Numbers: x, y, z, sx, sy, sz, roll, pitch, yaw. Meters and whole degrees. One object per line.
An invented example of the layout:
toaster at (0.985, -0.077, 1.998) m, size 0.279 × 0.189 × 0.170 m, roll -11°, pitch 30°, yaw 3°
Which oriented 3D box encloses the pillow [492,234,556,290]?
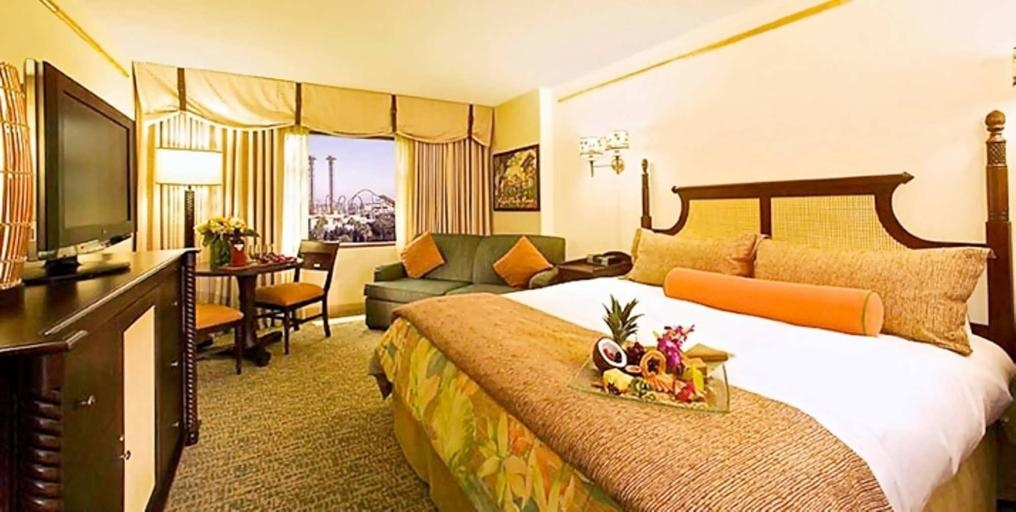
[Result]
pillow at (0.200, 0.078, 7.465) m, size 0.661 × 0.610 × 0.197 m, roll 50°, pitch 7°, yaw 22°

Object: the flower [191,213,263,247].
flower at (-3.083, -0.284, 6.817) m, size 0.525 × 0.238 × 0.517 m, roll 2°, pitch 2°, yaw 18°

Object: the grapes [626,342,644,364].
grapes at (0.923, 0.702, 4.388) m, size 0.137 × 0.136 × 0.135 m, roll 1°, pitch 9°, yaw 17°

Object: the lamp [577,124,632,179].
lamp at (1.183, -1.253, 7.278) m, size 0.486 × 0.550 × 0.816 m, roll 8°, pitch -10°, yaw -33°

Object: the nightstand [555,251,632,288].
nightstand at (1.076, 0.114, 7.048) m, size 0.445 × 0.292 × 0.633 m, roll 6°, pitch 8°, yaw 43°

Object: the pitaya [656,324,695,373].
pitaya at (1.201, 0.664, 4.371) m, size 0.260 × 0.318 × 0.200 m, roll -7°, pitch 10°, yaw -34°

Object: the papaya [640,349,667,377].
papaya at (1.036, 0.759, 4.297) m, size 0.173 × 0.151 × 0.110 m, roll -5°, pitch 9°, yaw -22°

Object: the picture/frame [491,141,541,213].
picture/frame at (0.138, -1.122, 8.530) m, size 0.045 × 0.919 × 1.158 m, roll -2°, pitch 3°, yaw -35°
